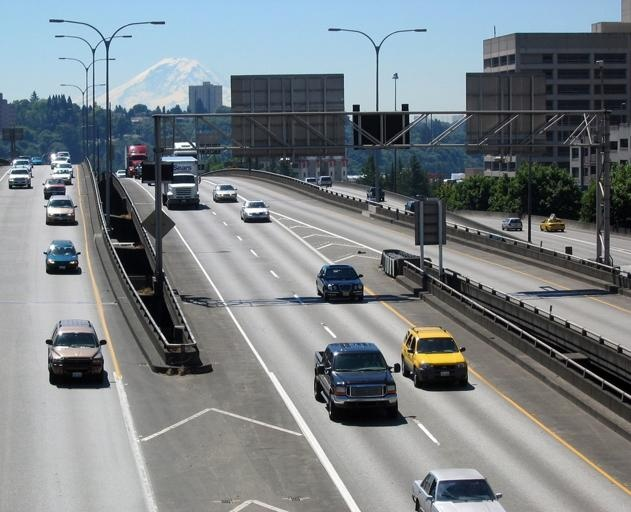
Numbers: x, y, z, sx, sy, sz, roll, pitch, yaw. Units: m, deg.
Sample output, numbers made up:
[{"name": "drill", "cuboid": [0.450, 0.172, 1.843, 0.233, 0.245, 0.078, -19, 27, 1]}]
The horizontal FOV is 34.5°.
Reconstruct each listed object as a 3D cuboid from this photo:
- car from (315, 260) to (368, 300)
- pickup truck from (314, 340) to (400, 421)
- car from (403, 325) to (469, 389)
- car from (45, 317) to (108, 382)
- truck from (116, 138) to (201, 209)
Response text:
[{"name": "car", "cuboid": [1.251, 1.310, 51.835, 2.171, 1.850, 1.886, -2, 7, -12]}, {"name": "pickup truck", "cuboid": [1.390, 4.173, 33.193, 2.091, 2.132, 2.725, -2, 10, -17]}, {"name": "car", "cuboid": [4.419, 3.770, 37.842, 1.973, 1.991, 4.338, -1, 3, -7]}, {"name": "car", "cuboid": [-8.765, 3.643, 37.070, 1.909, 1.814, 2.294, -2, 9, -15]}, {"name": "truck", "cuboid": [-10.805, -6.052, 79.155, 3.658, 5.839, 11.633, -1, 3, -17]}]
